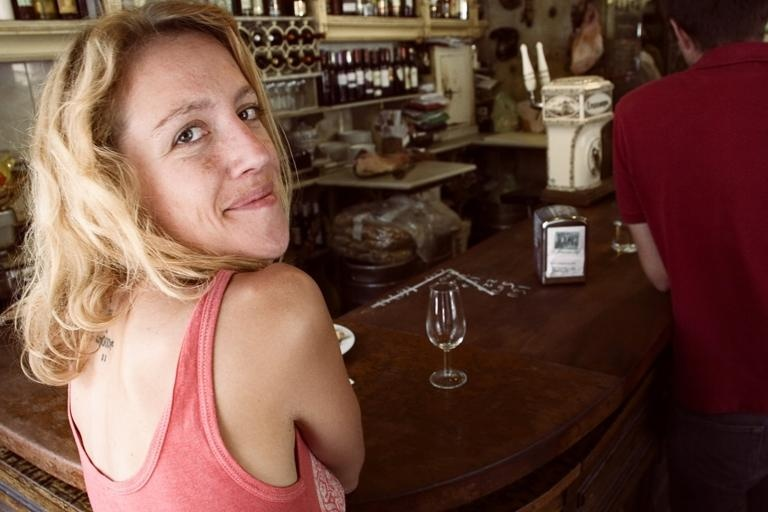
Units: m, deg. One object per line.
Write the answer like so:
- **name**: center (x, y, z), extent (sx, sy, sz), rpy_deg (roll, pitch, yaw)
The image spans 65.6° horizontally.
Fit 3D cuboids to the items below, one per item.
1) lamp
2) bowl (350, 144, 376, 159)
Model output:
- **lamp**: center (1.067, -0.635, 3.244), extent (0.296, 0.653, 0.497), rpy_deg (5, 20, 37)
- **bowl**: center (-0.163, -0.682, 4.047), extent (0.167, 0.110, 0.160), rpy_deg (-1, 7, 0)
